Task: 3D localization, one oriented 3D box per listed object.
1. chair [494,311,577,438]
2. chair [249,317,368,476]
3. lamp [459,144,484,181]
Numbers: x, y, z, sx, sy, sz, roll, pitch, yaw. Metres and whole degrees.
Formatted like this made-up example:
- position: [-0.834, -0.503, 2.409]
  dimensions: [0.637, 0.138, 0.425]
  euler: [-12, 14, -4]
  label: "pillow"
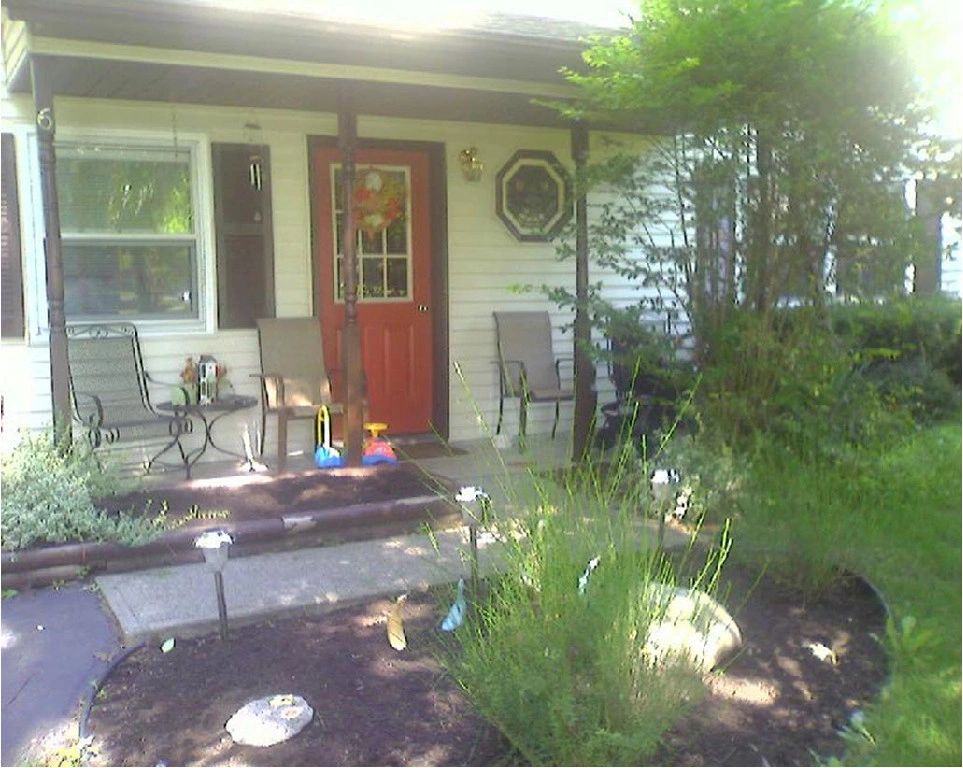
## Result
- position: [0.547, -0.051, 8.129]
  dimensions: [0.648, 1.427, 0.928]
  euler: [-1, 2, -16]
  label: "chair"
- position: [-1.596, 0.022, 7.150]
  dimensions: [0.771, 1.231, 0.974]
  euler: [-6, 7, -19]
  label: "chair"
- position: [-0.120, -2.196, 8.069]
  dimensions: [0.193, 0.349, 0.100]
  euler: [-10, 18, -21]
  label: "lamp"
